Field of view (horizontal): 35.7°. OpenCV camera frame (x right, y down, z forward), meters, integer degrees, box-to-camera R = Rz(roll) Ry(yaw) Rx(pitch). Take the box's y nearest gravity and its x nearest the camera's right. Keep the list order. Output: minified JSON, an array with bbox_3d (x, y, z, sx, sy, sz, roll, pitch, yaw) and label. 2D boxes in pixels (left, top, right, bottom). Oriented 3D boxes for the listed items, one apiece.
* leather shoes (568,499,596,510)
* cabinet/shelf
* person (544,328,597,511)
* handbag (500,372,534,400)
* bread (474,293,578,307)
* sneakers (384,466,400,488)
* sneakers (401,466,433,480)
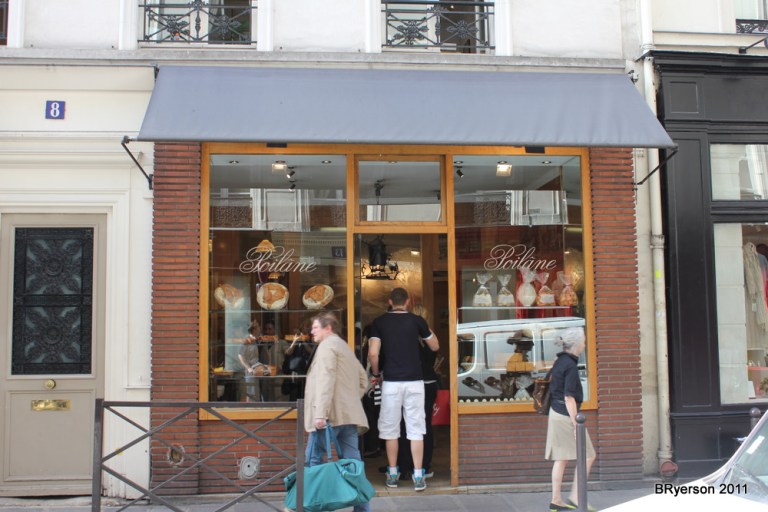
[{"bbox_3d":[2.470,3.118,14.923,0.423,0.098,0.144,-1,-3,5],"label":"leather shoes"},{"bbox_3d":[-1.600,1.179,15.772,1.926,1.175,1.019,-3,-18,38],"label":"cabinet/shelf"},{"bbox_3d":[2.283,2.046,14.942,0.557,2.288,0.556,-4,-5,32],"label":"person"},{"bbox_3d":[1.817,1.749,16.048,0.446,0.361,0.103,-2,-4,4],"label":"handbag"},{"bbox_3d":[2.182,0.616,16.071,1.409,0.174,0.050,1,3,5],"label":"bread"},{"bbox_3d":[0.125,2.922,15.834,0.151,0.206,0.331,0,0,0],"label":"sneakers"},{"bbox_3d":[0.469,2.934,16.161,0.171,0.192,0.506,-3,-3,41],"label":"sneakers"}]
